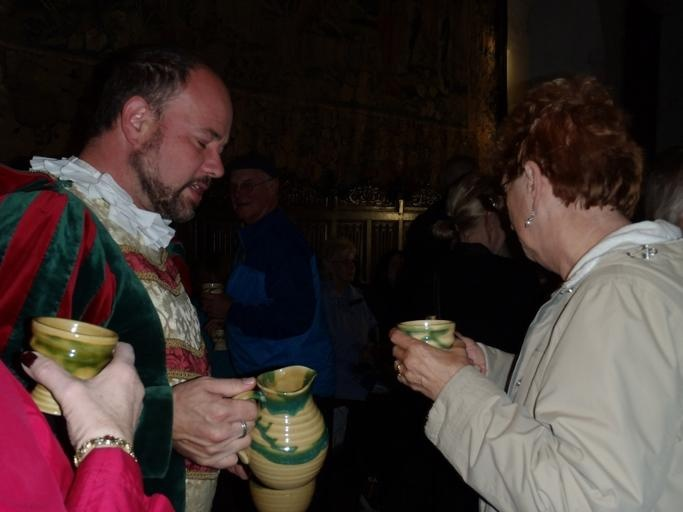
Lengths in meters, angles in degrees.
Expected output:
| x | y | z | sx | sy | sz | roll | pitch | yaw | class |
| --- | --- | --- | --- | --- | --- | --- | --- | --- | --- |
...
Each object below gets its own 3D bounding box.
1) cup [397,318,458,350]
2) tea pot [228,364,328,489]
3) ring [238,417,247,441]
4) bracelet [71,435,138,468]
| x | y | z | sx | sy | sz | roll | pitch | yaw | class |
| --- | --- | --- | --- | --- | --- | --- | --- | --- | --- |
| 0.282 | 0.234 | 1.794 | 0.112 | 0.079 | 0.116 | 1 | 0 | 0 | cup |
| -0.160 | 0.489 | 1.793 | 0.250 | 0.347 | 0.333 | 4 | 6 | 43 | tea pot |
| -0.261 | 0.462 | 1.539 | 0.037 | 0.039 | 0.032 | -6 | 17 | -22 | ring |
| -0.467 | 0.370 | 1.096 | 0.081 | 0.032 | 0.069 | 7 | 0 | -20 | bracelet |
